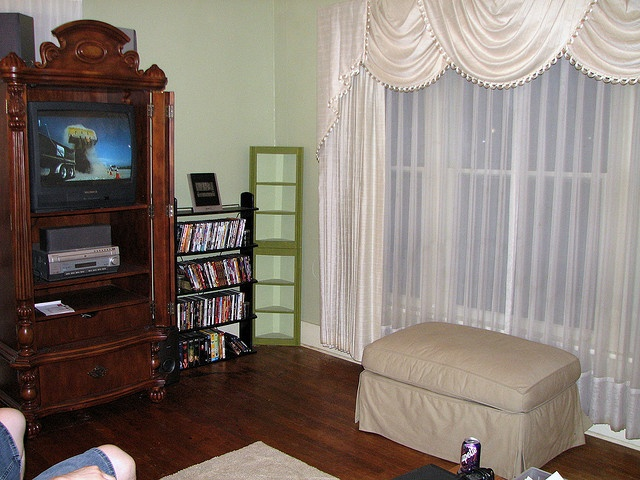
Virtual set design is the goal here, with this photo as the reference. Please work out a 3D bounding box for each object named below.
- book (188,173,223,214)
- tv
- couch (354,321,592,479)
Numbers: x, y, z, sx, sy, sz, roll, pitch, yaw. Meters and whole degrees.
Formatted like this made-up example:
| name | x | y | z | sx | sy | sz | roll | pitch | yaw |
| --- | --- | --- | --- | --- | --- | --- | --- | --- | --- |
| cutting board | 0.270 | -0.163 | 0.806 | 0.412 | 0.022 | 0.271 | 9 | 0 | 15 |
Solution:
| name | x | y | z | sx | sy | sz | roll | pitch | yaw |
| --- | --- | --- | --- | --- | --- | --- | --- | --- | --- |
| book | -1.047 | -0.418 | 4.733 | 0.299 | 0.410 | 0.051 | -16 | 2 | -37 |
| tv | -1.675 | -0.591 | 3.701 | 0.416 | 0.698 | 0.725 | 8 | 10 | 41 |
| couch | 0.981 | 1.031 | 3.545 | 1.444 | 0.714 | 0.738 | 7 | 13 | 30 |
